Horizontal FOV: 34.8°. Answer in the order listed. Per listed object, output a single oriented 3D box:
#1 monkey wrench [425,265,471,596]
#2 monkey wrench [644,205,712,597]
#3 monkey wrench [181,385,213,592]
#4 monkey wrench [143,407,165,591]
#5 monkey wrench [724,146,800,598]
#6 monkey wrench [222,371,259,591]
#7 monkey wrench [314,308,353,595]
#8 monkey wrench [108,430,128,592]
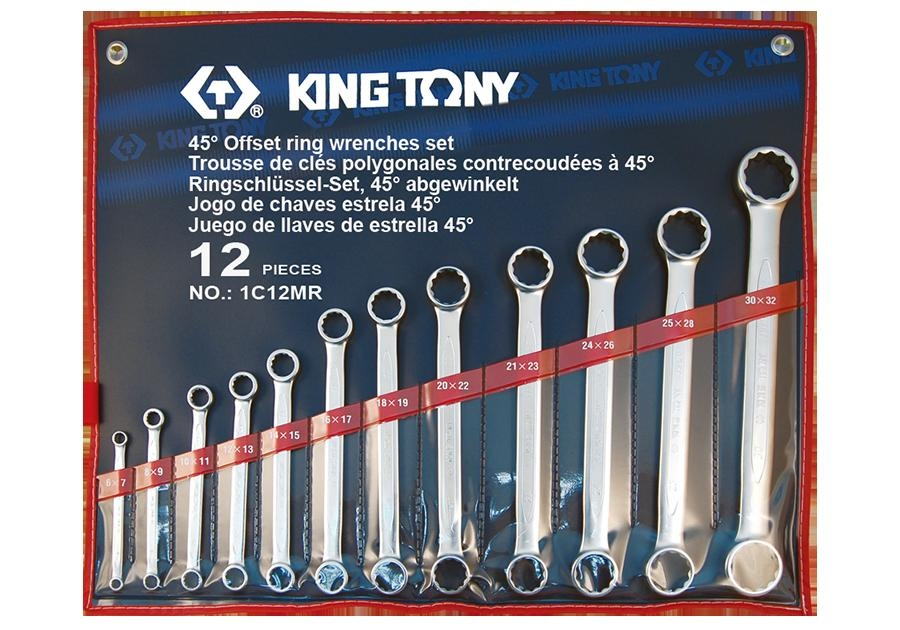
[{"bbox_3d":[-0.006,0.414,4.913,0.143,1.055,0.071,1,0,3],"label":"monkey wrench"},{"bbox_3d":[0.795,0.341,4.980,0.197,1.433,0.170,2,-2,8],"label":"monkey wrench"},{"bbox_3d":[-0.893,0.620,5.071,0.100,0.752,0.047,3,-3,-4],"label":"monkey wrench"},{"bbox_3d":[-1.045,0.652,5.028,0.073,0.639,0.028,1,-2,1],"label":"monkey wrench"},{"bbox_3d":[1.073,0.181,4.971,0.210,1.544,0.143,2,-1,22],"label":"monkey wrench"},{"bbox_3d":[-0.735,0.570,5.057,0.109,0.805,0.075,0,-2,4],"label":"monkey wrench"},{"bbox_3d":[-0.413,0.476,5.037,0.133,0.980,0.064,2,-1,3],"label":"monkey wrench"},{"bbox_3d":[-1.167,0.686,5.035,0.061,0.565,0.040,1,-1,-3],"label":"monkey wrench"}]
